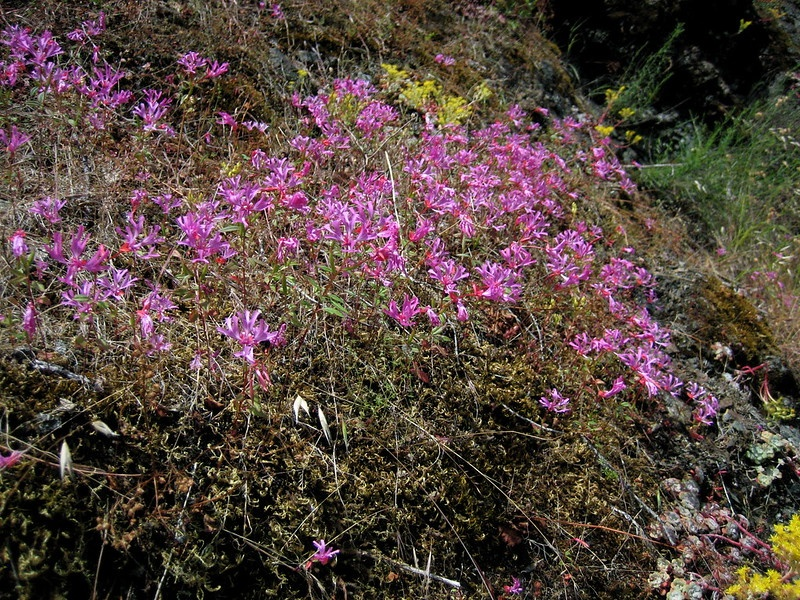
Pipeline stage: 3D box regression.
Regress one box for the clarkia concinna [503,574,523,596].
[{"bbox_3d":[0.660,1.679,4.278,0.122,0.061,0.080,13,34,-31],"label":"clarkia concinna"}]
